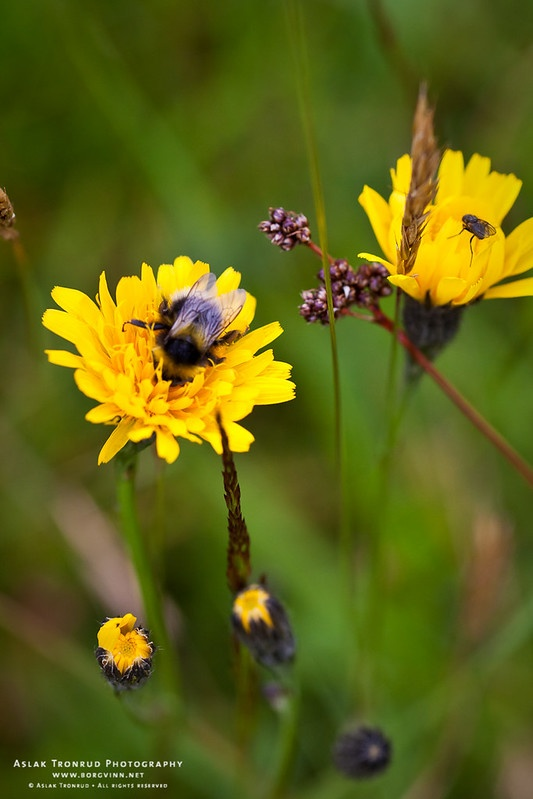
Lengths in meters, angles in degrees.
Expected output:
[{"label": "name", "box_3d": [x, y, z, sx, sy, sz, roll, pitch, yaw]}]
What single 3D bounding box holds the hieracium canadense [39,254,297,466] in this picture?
[{"label": "hieracium canadense", "box_3d": [-0.208, -0.076, 1.377, 0.465, 0.420, 0.173, -12, -15, -20]}]
